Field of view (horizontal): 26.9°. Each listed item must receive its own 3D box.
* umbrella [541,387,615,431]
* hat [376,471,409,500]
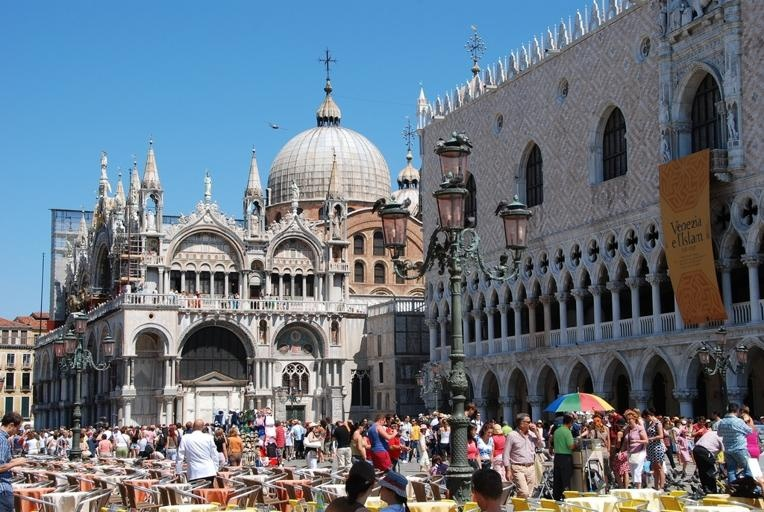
[{"bbox_3d":[6.918,5.192,56.375,1.992,1.415,1.579,-20,-10,16],"label":"umbrella"},{"bbox_3d":[0.337,5.980,41.823,0.734,0.384,0.562,28,-1,8],"label":"hat"}]
